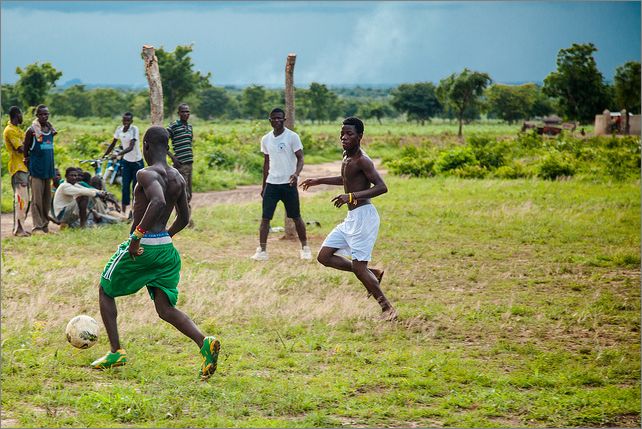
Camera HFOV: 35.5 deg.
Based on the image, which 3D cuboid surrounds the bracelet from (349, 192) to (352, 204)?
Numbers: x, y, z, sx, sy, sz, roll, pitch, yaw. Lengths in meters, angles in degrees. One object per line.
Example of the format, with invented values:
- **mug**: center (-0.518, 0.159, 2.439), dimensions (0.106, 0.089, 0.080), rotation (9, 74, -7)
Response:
- **bracelet**: center (0.578, -0.297, 19.032), dimensions (0.073, 0.173, 0.071), rotation (-1, 6, -6)

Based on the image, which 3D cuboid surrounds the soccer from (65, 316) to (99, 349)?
- **soccer**: center (-4.292, 2.190, 17.989), dimensions (0.708, 0.719, 0.656), rotation (-1, -3, -2)

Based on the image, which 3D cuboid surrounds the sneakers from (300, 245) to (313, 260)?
- **sneakers**: center (-0.312, 0.871, 21.729), dimensions (0.290, 0.276, 0.223), rotation (-2, -2, 21)

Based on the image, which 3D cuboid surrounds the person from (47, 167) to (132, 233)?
- **person**: center (-5.473, -0.330, 23.854), dimensions (1.879, 1.431, 0.945), rotation (0, 7, -13)

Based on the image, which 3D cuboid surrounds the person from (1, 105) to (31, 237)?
- **person**: center (-6.813, -0.947, 22.516), dimensions (0.491, 2.932, 0.575), rotation (-2, 6, -17)

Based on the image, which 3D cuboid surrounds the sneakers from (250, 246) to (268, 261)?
- **sneakers**: center (-1.300, 0.869, 21.532), dimensions (0.379, 0.277, 0.227), rotation (-1, 6, -5)

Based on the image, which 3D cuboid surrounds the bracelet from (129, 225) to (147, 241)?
- **bracelet**: center (-3.142, 0.360, 17.326), dimensions (0.209, 0.219, 0.263), rotation (-47, 4, -12)
